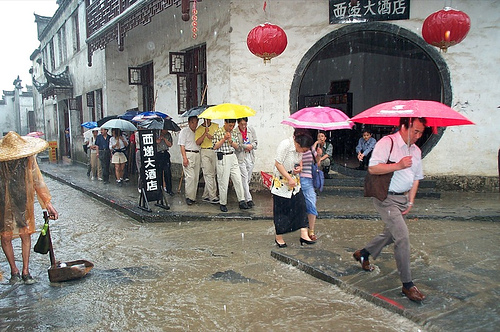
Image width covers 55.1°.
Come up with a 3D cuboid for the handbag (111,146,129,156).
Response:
[{"bbox_3d":[-4.345,-0.466,15.964,0.383,0.140,0.276,-20,12,29],"label":"handbag"}]

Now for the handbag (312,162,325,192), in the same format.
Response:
[{"bbox_3d":[1.384,0.231,9.957,0.217,0.614,0.312,0,4,13],"label":"handbag"}]

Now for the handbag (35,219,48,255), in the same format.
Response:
[{"bbox_3d":[-3.695,1.278,8.524,0.198,0.595,0.301,-4,5,-36],"label":"handbag"}]

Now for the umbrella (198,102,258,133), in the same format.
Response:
[{"bbox_3d":[-0.447,-1.206,11.551,1.152,0.713,1.442,0,3,17],"label":"umbrella"}]

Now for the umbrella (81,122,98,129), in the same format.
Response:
[{"bbox_3d":[-6.110,-1.552,18.455,0.723,0.298,0.834,4,7,29],"label":"umbrella"}]

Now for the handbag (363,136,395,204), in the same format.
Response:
[{"bbox_3d":[2.208,0.201,8.707,0.441,1.133,0.798,9,2,-1],"label":"handbag"}]

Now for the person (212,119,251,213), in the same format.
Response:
[{"bbox_3d":[-0.501,0.001,11.833,0.806,2.247,0.423,-1,4,-8],"label":"person"}]

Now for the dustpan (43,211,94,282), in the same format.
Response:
[{"bbox_3d":[-3.297,1.443,8.806,0.780,1.271,0.417,-2,4,-20],"label":"dustpan"}]

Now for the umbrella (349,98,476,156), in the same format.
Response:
[{"bbox_3d":[2.717,-0.735,8.174,1.202,0.686,1.253,2,5,15],"label":"umbrella"}]

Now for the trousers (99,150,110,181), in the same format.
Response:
[{"bbox_3d":[-4.969,-0.014,16.509,0.345,1.049,0.528,-2,4,-10],"label":"trousers"}]

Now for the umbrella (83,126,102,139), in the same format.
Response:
[{"bbox_3d":[-5.663,-1.197,17.411,0.582,0.236,0.637,-14,8,-41],"label":"umbrella"}]

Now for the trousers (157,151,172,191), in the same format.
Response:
[{"bbox_3d":[-2.429,0.155,13.729,0.331,1.148,0.622,-1,4,-7],"label":"trousers"}]

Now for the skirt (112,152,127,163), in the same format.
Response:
[{"bbox_3d":[-4.339,-0.178,16.049,0.467,0.458,0.300,4,-15,-34],"label":"skirt"}]
